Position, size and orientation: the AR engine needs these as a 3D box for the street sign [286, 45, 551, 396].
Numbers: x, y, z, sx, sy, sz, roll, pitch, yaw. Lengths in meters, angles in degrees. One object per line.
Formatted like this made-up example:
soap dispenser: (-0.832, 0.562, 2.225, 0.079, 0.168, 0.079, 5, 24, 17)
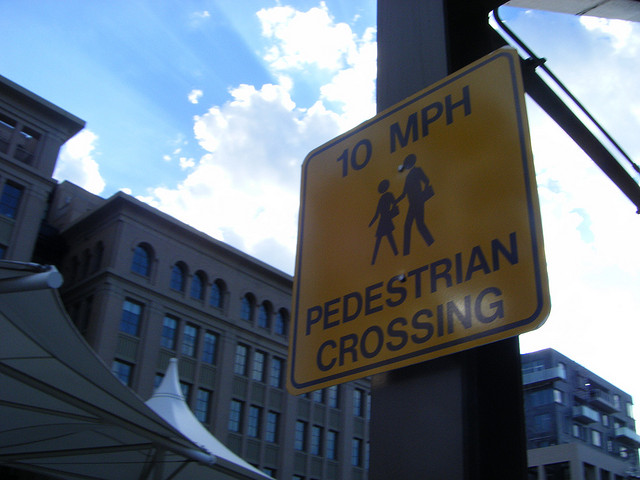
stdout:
street sign: (0.279, -0.067, 1.977, 1.020, 1.059, 0.048, -23, -38, 39)
